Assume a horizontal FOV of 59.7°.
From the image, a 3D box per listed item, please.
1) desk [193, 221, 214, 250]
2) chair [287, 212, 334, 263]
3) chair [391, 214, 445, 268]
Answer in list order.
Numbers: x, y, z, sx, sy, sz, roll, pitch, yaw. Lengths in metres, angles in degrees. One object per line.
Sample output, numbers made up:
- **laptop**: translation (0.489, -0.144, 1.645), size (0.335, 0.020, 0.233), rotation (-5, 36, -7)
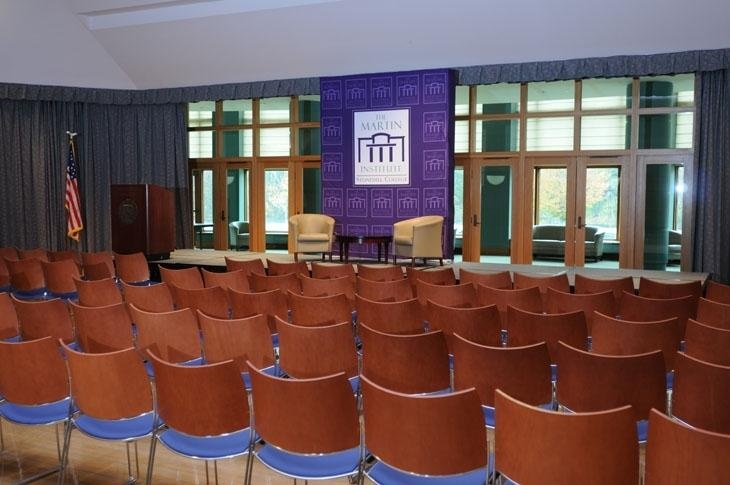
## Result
- **desk**: translation (-3.523, -0.127, 13.865), size (0.460, 0.794, 0.492), rotation (1, 3, 14)
- **chair**: translation (-1.018, -0.110, 11.695), size (0.789, 0.847, 0.788), rotation (-1, 3, -16)
- **chair**: translation (0.944, -0.058, 11.231), size (0.763, 0.917, 0.806), rotation (2, 0, -24)
